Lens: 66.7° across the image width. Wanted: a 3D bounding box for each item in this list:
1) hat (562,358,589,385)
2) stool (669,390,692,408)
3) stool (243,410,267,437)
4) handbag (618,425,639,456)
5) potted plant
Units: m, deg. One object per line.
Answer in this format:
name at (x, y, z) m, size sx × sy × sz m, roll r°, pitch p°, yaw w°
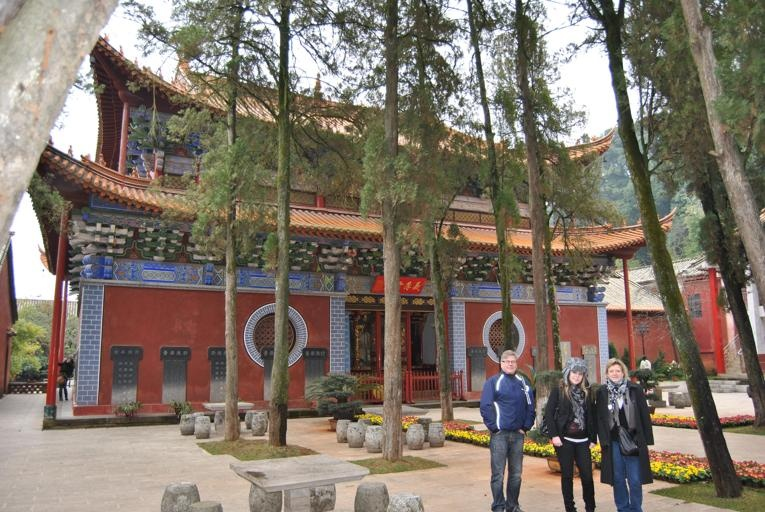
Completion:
hat at (2.778, 1.632, 8.398) m, size 0.338 × 0.410 × 0.374 m, roll 1°, pitch -16°, yaw -1°
stool at (9.621, 4.632, 18.772) m, size 0.612 × 0.517 × 1.011 m, roll -6°, pitch -14°, yaw 18°
stool at (-2.976, 3.892, 13.659) m, size 0.571 × 0.603 × 0.618 m, roll -1°, pitch -12°, yaw 2°
handbag at (3.339, 2.479, 7.860) m, size 0.278 × 0.387 × 0.141 m, roll -23°, pitch -25°, yaw 40°
potted plant at (-1.035, 3.616, 15.078) m, size 1.541 × 1.114 × 1.608 m, roll -9°, pitch -17°, yaw 34°
